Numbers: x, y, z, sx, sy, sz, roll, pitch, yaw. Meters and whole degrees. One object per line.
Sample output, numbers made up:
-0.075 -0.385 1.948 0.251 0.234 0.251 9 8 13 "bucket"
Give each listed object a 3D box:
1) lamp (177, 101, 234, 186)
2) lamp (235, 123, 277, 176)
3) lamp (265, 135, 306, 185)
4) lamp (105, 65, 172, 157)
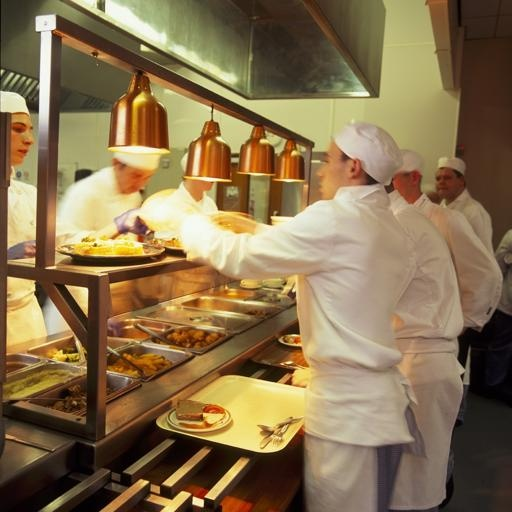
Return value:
-0.158 -0.365 1.554 0.159 0.188 0.156 7 9 10 "lamp"
0.005 -0.438 1.915 0.208 0.263 0.202 2 7 7 "lamp"
0.150 -0.508 2.427 0.213 0.270 0.202 3 3 31 "lamp"
-0.287 -0.357 1.090 0.174 0.214 0.126 15 8 25 "lamp"
